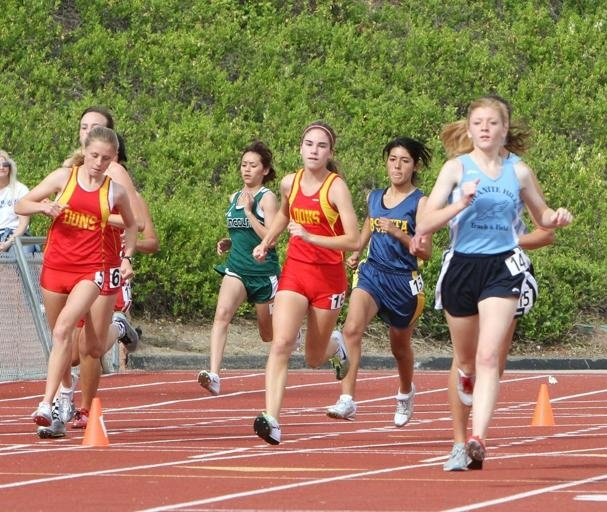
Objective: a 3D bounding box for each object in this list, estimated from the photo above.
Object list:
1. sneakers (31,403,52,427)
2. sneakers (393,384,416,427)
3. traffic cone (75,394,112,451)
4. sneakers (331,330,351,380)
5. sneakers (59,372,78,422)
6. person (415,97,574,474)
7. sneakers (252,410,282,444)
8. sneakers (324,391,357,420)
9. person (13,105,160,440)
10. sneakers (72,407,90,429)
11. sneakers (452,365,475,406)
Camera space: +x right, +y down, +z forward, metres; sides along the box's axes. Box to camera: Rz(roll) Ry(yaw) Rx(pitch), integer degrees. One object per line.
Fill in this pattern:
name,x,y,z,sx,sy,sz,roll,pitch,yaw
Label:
sneakers,-2.009,1.238,6.497,0.132,0.253,0.209,-1,10,-19
sneakers,0.890,1.380,7.596,0.129,0.435,0.171,4,-16,29
traffic cone,-1.544,1.285,6.282,0.298,0.411,0.325,-6,-7,22
sneakers,0.361,0.925,7.683,0.147,0.484,0.204,3,18,37
sneakers,-1.933,1.179,6.929,0.127,0.423,0.168,0,-5,-12
person,1.110,0.185,5.299,0.823,2.360,1.191,5,9,17
sneakers,-0.219,1.204,5.861,0.131,0.129,0.270,15,-17,35
sneakers,0.345,1.359,7.520,0.127,0.190,0.371,11,-8,29
person,-1.798,0.157,7.090,0.889,2.679,1.585,1,9,-10
sneakers,-1.907,1.402,7.230,0.110,0.151,0.312,0,-14,6
sneakers,1.043,0.855,5.475,0.116,0.216,0.049,-12,4,-5
